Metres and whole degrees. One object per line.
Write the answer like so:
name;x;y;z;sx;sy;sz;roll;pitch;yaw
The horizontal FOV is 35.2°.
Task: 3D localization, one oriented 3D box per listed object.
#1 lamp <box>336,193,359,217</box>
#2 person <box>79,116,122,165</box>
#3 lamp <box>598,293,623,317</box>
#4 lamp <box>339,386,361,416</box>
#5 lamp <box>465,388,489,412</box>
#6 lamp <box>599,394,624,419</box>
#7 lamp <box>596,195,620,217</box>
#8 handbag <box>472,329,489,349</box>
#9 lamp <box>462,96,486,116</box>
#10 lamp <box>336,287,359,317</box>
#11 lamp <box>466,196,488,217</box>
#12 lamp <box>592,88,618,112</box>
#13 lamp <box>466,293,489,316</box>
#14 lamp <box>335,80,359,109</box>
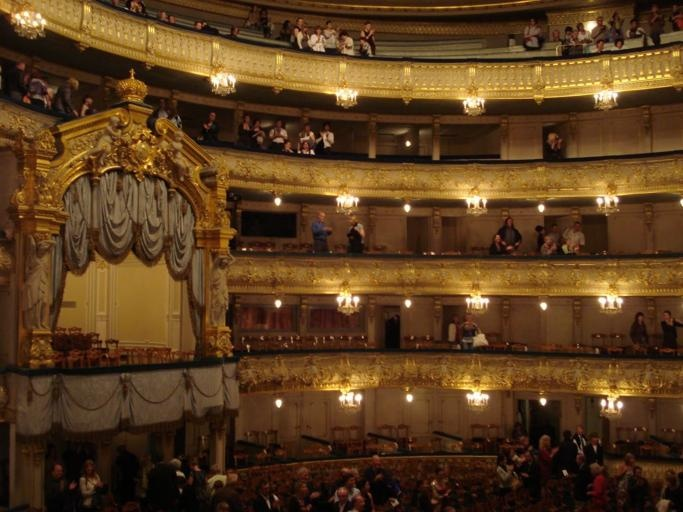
lamp;0.208;-2.517;52.131;1.007;1.056;1.000;2;0;-1
person;-9.099;-4.520;41.246;1.209;1.789;0.343;7;-9;-33
lamp;12.799;2.336;51.578;1.015;1.136;1.272;0;0;16
lamp;0.328;6.887;51.440;1.269;1.255;0.996;3;-5;-1
lamp;6.474;7.001;52.045;1.052;1.329;1.060;1;-5;9
lamp;12.650;7.101;50.491;1.238;1.333;1.228;4;-6;-13
lamp;12.874;-2.406;52.251;1.061;1.060;1.058;0;6;3
handbag;6.649;4.090;52.606;0.807;0.727;0.286;-37;14;-26
lamp;6.468;-7.379;52.645;1.025;0.865;1.002;-2;5;-39
lamp;0.227;2.223;51.144;1.229;1.617;1.236;2;-1;8
lamp;6.707;-2.502;53.707;1.017;0.998;1.002;2;-4;-17
lamp;12.682;-7.551;52.223;1.021;0.930;1.044;2;1;45
lamp;6.504;2.342;52.491;1.164;1.677;1.172;2;-5;9
lamp;0.169;-7.779;52.208;1.233;1.576;1.226;0;9;1
